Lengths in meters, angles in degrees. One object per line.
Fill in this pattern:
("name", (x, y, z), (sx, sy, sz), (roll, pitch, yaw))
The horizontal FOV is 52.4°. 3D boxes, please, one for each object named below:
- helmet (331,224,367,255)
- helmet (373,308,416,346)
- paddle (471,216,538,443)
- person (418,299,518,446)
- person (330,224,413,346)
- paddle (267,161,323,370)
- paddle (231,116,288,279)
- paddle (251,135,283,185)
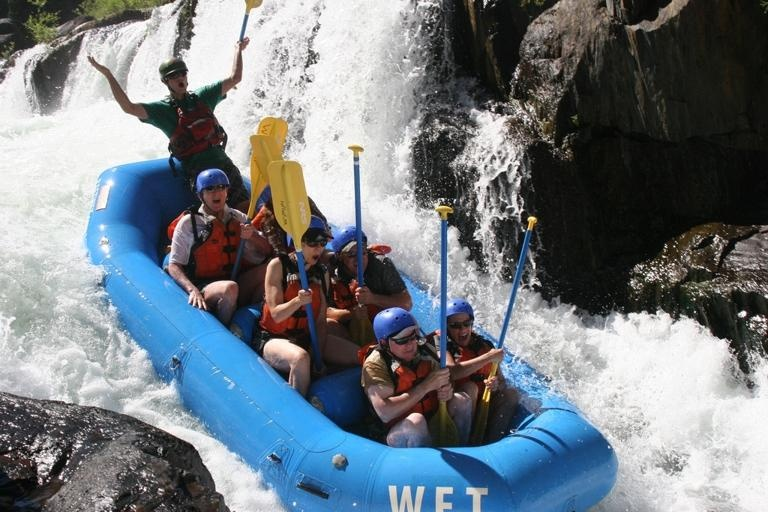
("helmet", (-0.370, -0.188, 7.516), (0.303, 0.295, 0.235), (-33, -2, 20))
("helmet", (0.097, 0.624, 6.893), (0.422, 0.370, 0.322), (-3, 2, 28))
("paddle", (1.339, 0.791, 8.500), (0.189, 2.319, 0.147), (17, -5, -16))
("person", (0.797, 1.111, 7.192), (0.680, 1.405, 0.774), (-4, 2, -29))
("person", (-0.190, 0.311, 7.720), (0.709, 1.218, 0.343), (-22, -2, 10))
("paddle", (-0.804, 0.091, 7.610), (0.356, 2.400, 0.056), (-1, 40, 5))
("paddle", (-1.316, -0.361, 7.888), (0.395, 2.131, 0.176), (14, 8, 21))
("paddle", (-1.142, -1.018, 7.827), (0.397, 0.216, 1.016), (-4, -3, -1))
